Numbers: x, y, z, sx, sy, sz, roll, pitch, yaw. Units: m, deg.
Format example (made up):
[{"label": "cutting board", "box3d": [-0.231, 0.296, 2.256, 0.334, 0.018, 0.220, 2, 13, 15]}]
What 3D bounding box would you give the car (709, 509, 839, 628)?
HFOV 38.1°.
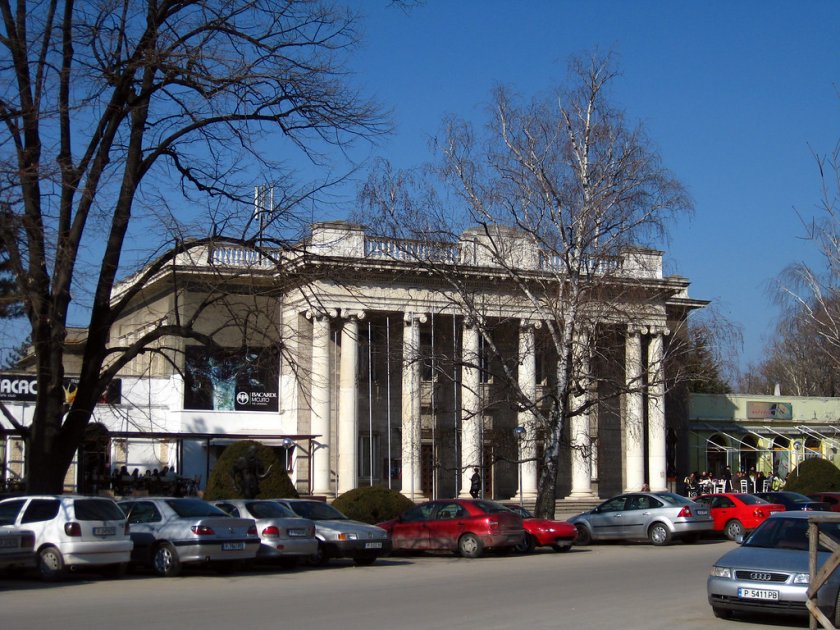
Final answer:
[{"label": "car", "box3d": [6.209, 4.494, 22.107, 1.580, 1.242, 2.893, -7, -13, 33]}]
